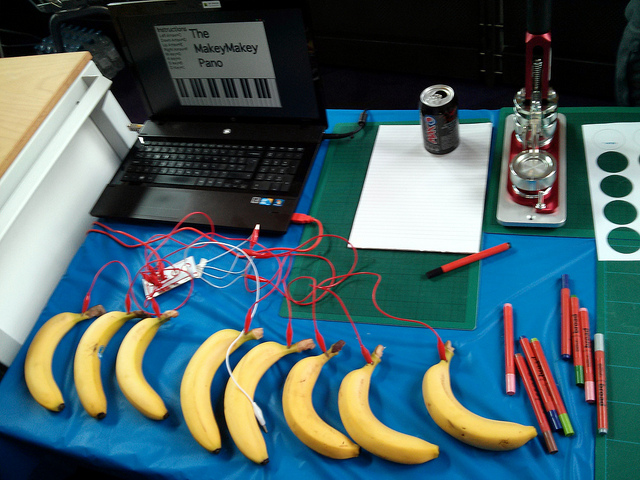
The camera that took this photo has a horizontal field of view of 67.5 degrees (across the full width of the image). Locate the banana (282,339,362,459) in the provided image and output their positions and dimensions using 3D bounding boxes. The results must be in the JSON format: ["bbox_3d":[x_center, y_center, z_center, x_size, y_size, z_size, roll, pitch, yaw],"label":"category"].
[{"bbox_3d":[-0.003,0.306,0.922,0.146,0.056,0.232,-3,43,-9],"label":"banana"}]

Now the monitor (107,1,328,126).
[{"bbox_3d":[-0.184,-0.554,1.365,0.630,0.292,0.344,12,47,20],"label":"monitor"}]

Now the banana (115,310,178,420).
[{"bbox_3d":[-0.383,0.253,1.028,0.140,0.065,0.268,17,32,-25],"label":"banana"}]

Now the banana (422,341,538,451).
[{"bbox_3d":[0.263,0.308,0.860,0.100,0.050,0.197,-33,46,-24],"label":"banana"}]

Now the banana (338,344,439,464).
[{"bbox_3d":[0.102,0.313,0.883,0.130,0.081,0.214,-19,42,-10],"label":"banana"}]
